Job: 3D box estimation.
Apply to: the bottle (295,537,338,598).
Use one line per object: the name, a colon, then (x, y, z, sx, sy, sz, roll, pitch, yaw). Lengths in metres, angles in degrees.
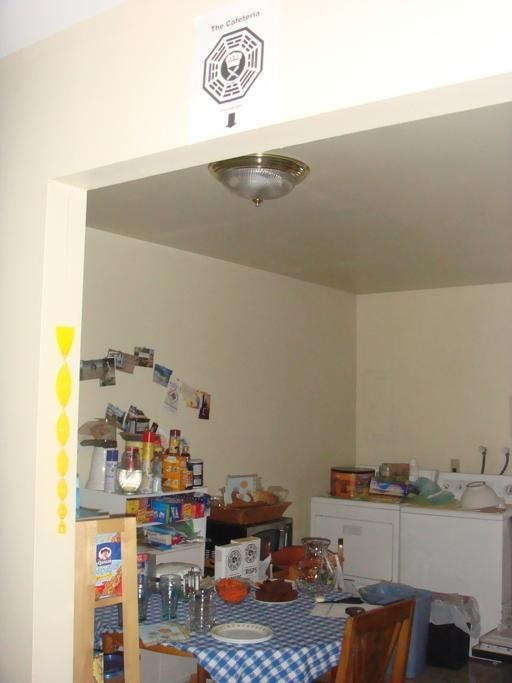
bottle: (0.247, 0.936, 2.377, 0.175, 0.223, 0.171, 2, -8, 0)

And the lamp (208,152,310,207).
lamp: (0.013, -0.646, 2.221, 0.378, 0.100, 0.215, 1, -5, 3)

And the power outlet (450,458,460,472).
power outlet: (1.609, 1.002, 4.630, 0.075, 0.096, 0.074, -1, -5, 25)

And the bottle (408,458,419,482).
bottle: (1.191, 0.970, 4.320, 0.066, 0.141, 0.209, 0, -5, 17)

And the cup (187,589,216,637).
cup: (-0.210, 0.895, 1.904, 0.135, 0.127, 0.080, 4, -18, -2)

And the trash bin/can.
trash bin/can: (1.148, 1.673, 3.469, 0.224, 0.234, 0.218, -10, -1, -8)

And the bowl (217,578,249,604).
bowl: (-0.088, 0.946, 2.203, 0.095, 0.051, 0.092, 2, -1, 0)

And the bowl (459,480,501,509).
bowl: (1.496, 1.024, 3.796, 0.258, 0.163, 0.225, 0, -5, 12)

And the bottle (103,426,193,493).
bottle: (-0.545, 0.578, 2.935, 0.362, 0.295, 0.353, 1, -6, 16)
